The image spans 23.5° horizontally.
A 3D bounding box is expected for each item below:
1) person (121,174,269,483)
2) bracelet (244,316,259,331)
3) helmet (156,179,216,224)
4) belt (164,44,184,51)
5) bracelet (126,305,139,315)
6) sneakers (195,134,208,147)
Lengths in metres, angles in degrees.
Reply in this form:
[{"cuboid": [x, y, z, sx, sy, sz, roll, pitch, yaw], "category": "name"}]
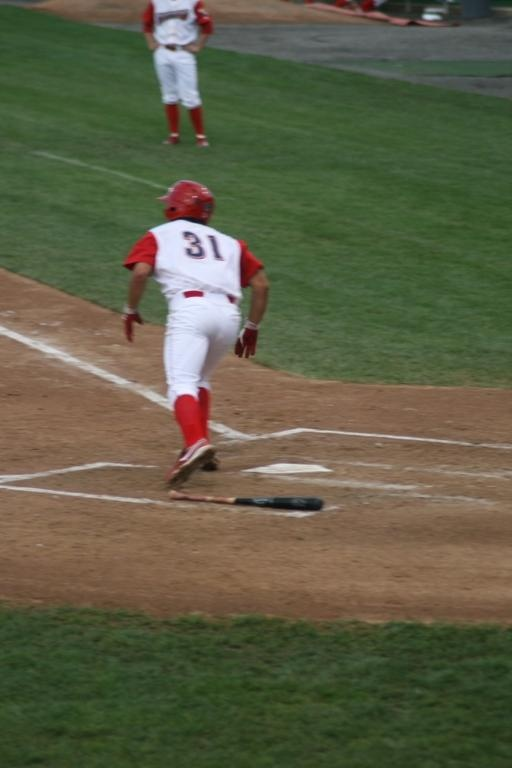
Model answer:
[{"cuboid": [-0.298, -0.245, 5.373, 0.633, 1.097, 0.998, 2, 28, 7], "category": "person"}, {"cuboid": [-0.016, -0.285, 5.722, 0.064, 0.041, 0.052, 10, 17, -45], "category": "bracelet"}, {"cuboid": [-0.286, -0.816, 5.556, 0.269, 0.188, 0.165, 13, 51, 9], "category": "helmet"}, {"cuboid": [-0.762, -3.118, 11.343, 0.129, 0.052, 0.024, 9, 32, 21], "category": "belt"}, {"cuboid": [-0.548, -0.336, 5.470, 0.047, 0.028, 0.051, 11, 20, -12], "category": "bracelet"}, {"cuboid": [-0.539, -2.475, 12.471, 0.079, 0.075, 0.206, -2, -3, -9], "category": "sneakers"}]
